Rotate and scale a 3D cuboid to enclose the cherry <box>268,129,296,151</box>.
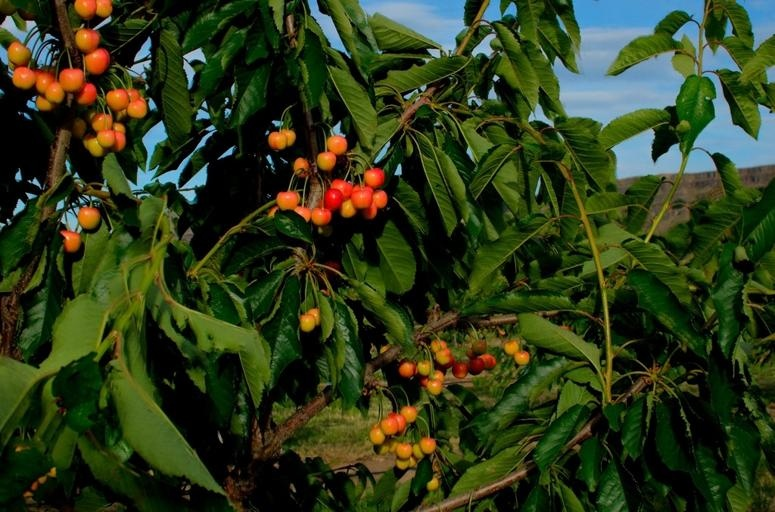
[{"bbox_3d":[-0.525,-0.560,4.031,0.105,0.113,0.110,-12,3,-26],"label":"cherry"}]

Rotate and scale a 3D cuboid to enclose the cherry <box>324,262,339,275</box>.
[{"bbox_3d":[-0.269,0.062,4.041,0.063,0.084,0.067,-2,1,14],"label":"cherry"}]

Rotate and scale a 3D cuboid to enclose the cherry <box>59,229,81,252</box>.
[{"bbox_3d":[-1.280,-0.062,3.278,0.087,0.088,0.089,2,6,44],"label":"cherry"}]

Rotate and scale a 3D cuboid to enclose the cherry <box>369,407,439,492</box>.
[{"bbox_3d":[0.103,1.112,4.894,0.412,0.442,0.299,8,7,0],"label":"cherry"}]

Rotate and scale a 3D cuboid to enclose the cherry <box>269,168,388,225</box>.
[{"bbox_3d":[-0.246,-0.284,3.905,0.582,0.329,0.367,6,7,-17],"label":"cherry"}]

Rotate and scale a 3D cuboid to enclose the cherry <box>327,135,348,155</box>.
[{"bbox_3d":[-0.232,-0.528,3.919,0.073,0.090,0.139,14,9,42],"label":"cherry"}]

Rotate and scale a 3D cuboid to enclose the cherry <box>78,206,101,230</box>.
[{"bbox_3d":[-1.246,-0.154,3.413,0.096,0.104,0.049,5,7,-24],"label":"cherry"}]

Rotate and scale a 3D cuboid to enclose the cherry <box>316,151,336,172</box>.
[{"bbox_3d":[-0.287,-0.444,3.848,0.082,0.095,0.088,-3,4,12],"label":"cherry"}]
